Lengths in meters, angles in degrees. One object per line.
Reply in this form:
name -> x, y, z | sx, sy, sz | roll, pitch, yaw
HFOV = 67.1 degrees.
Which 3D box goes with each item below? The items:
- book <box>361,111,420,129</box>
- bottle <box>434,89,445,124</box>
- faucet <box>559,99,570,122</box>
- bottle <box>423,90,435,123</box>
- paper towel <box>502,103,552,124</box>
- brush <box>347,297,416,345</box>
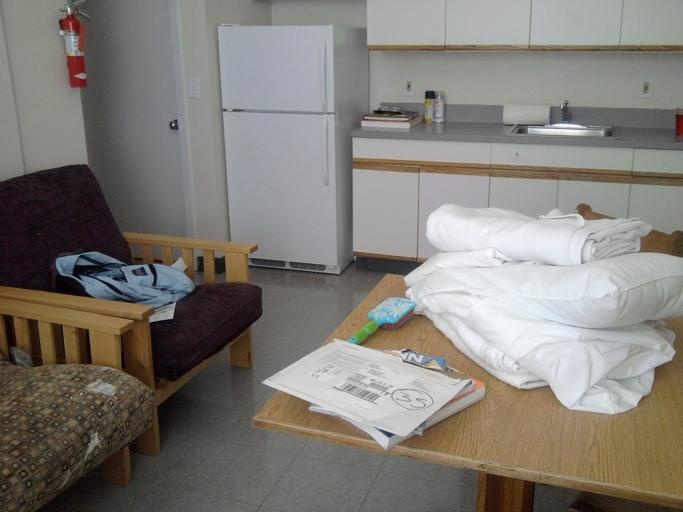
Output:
book -> 0.400, -1.093, 4.082 | 0.429, 0.129, 0.416 | 2, 19, 10
bottle -> 0.811, -1.227, 4.231 | 0.090, 0.242, 0.190 | 2, 20, 11
faucet -> 1.740, -1.130, 4.003 | 0.082, 0.158, 0.181 | 6, 21, 21
bottle -> 0.724, -1.216, 4.198 | 0.086, 0.243, 0.168 | 2, 20, 10
paper towel -> 1.438, -1.098, 4.004 | 0.335, 0.148, 0.051 | 4, 21, 14
brush -> 0.126, 0.175, 1.584 | 0.092, 0.039, 0.276 | 6, 18, 32
